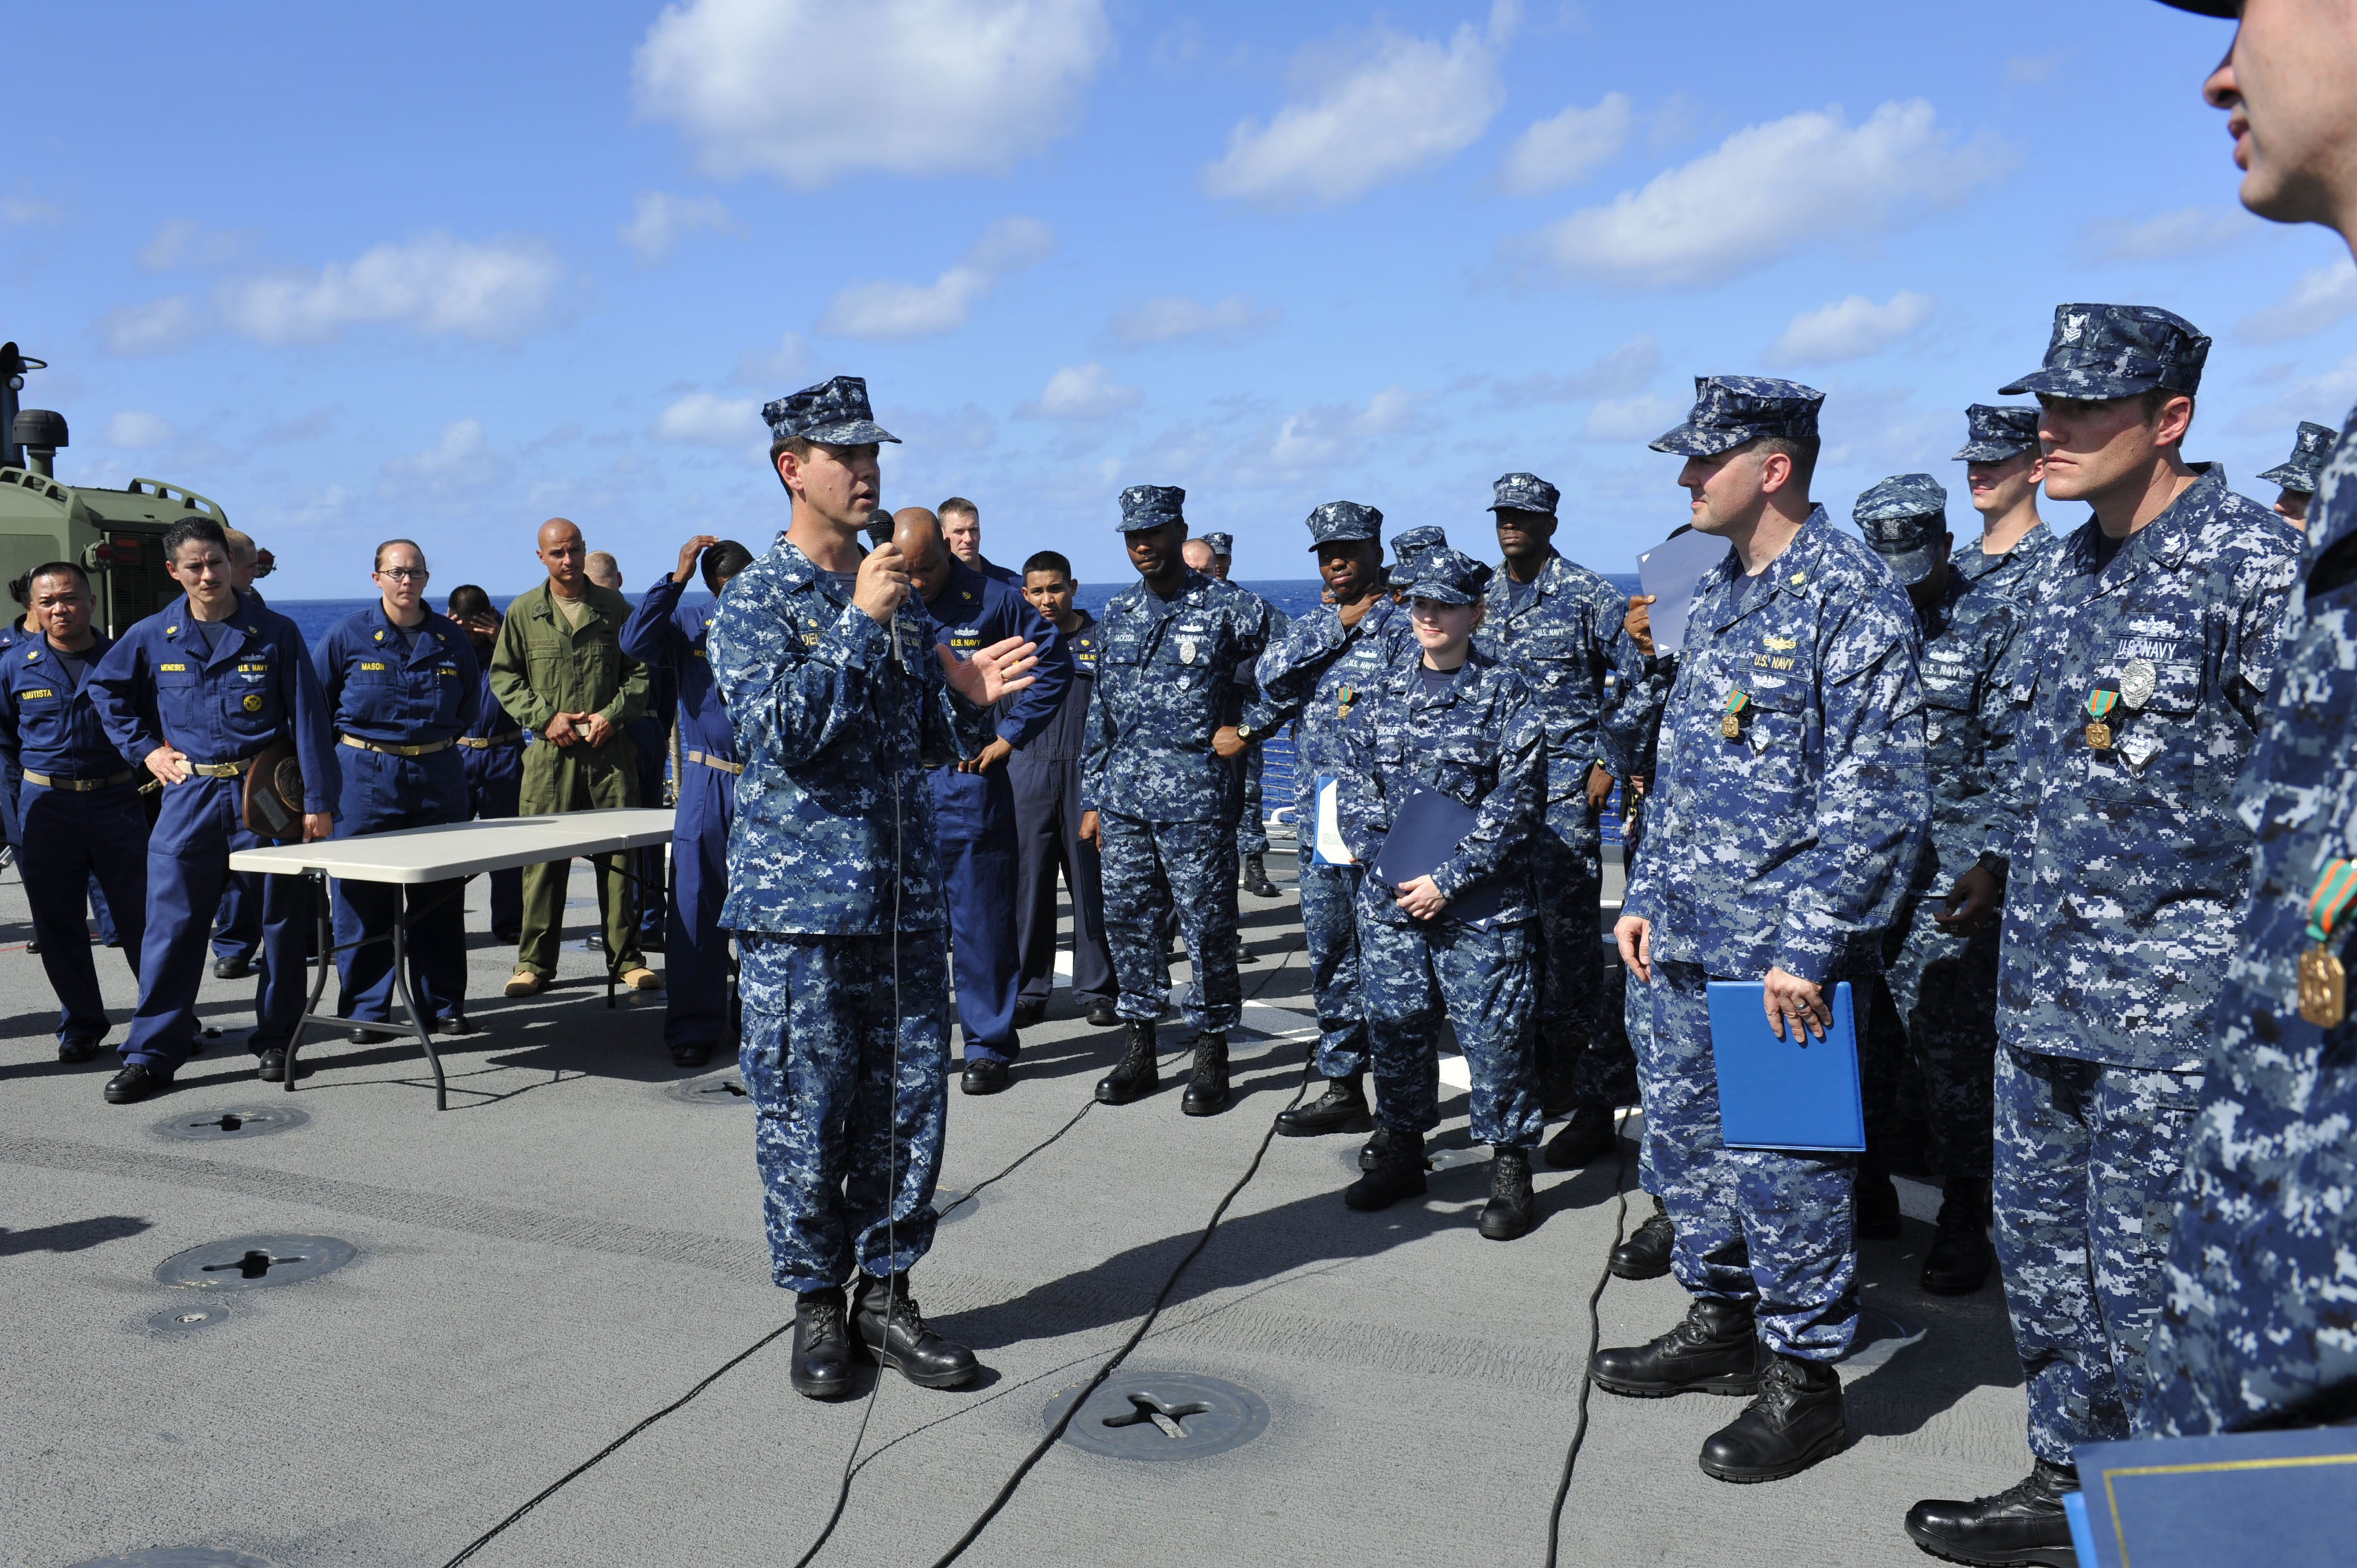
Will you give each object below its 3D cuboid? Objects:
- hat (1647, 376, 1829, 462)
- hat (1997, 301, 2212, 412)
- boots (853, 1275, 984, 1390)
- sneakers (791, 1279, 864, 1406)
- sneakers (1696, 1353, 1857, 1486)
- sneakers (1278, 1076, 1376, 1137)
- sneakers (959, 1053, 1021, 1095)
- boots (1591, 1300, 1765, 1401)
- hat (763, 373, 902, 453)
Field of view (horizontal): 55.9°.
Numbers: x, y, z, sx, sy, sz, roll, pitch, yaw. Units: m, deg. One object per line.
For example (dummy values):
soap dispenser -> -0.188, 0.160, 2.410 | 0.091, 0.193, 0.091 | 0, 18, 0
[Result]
hat -> 1.520, -0.983, 5.990 | 0.321, 0.215, 0.342 | 10, 16, 41
hat -> 2.315, -1.095, 5.530 | 0.588, 0.203, 0.392 | -11, 20, -21
boots -> -0.742, 1.511, 6.236 | 0.453, 0.250, 0.171 | 9, 17, 42
sneakers -> -0.978, 1.539, 6.156 | 0.205, 0.263, 0.222 | -2, 12, -9
sneakers -> 1.574, 1.657, 5.873 | 0.590, 0.253, 0.224 | -5, 12, -39
sneakers -> 0.551, 1.203, 8.265 | 0.452, 0.267, 0.148 | 2, -4, -1
sneakers -> -0.757, 1.150, 8.855 | 0.134, 0.134, 0.353 | -1, -7, 8
boots -> 1.425, 1.567, 6.261 | 0.491, 0.279, 0.189 | -7, -8, 31
hat -> -0.967, -0.999, 6.000 | 0.288, 0.186, 0.152 | -2, 12, -8
